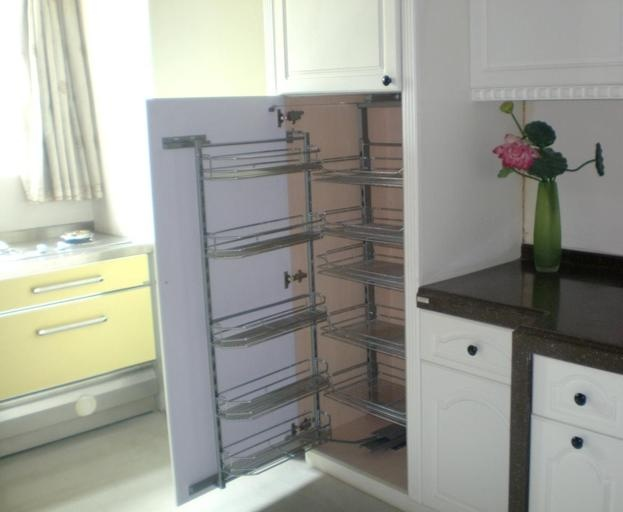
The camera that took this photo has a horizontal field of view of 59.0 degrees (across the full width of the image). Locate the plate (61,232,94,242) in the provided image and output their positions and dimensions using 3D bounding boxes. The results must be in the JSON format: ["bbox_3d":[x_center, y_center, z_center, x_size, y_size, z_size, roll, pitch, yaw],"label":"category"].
[{"bbox_3d":[-1.328,-0.106,3.152,0.153,0.053,0.222,-8,14,-19],"label":"plate"}]

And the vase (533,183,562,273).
[{"bbox_3d":[0.905,-0.112,2.118,0.095,0.360,0.071,1,14,20],"label":"vase"}]

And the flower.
[{"bbox_3d":[0.896,-0.434,2.088,0.389,0.305,0.327,3,15,26],"label":"flower"}]
